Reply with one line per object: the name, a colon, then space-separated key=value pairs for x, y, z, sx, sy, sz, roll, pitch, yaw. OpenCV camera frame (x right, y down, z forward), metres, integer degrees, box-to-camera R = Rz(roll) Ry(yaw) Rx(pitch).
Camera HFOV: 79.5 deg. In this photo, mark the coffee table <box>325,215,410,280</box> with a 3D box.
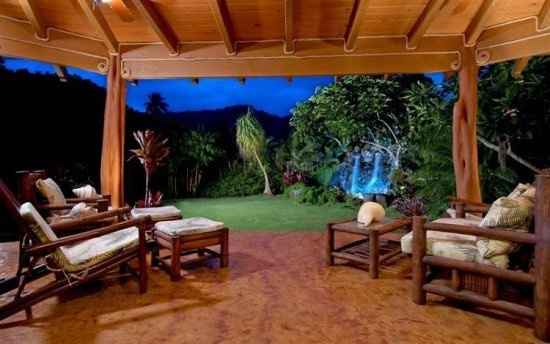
coffee table: x=1.463 y=1.168 z=5.362 sx=0.899 sy=0.642 sz=1.264 roll=-2 pitch=2 yaw=38
